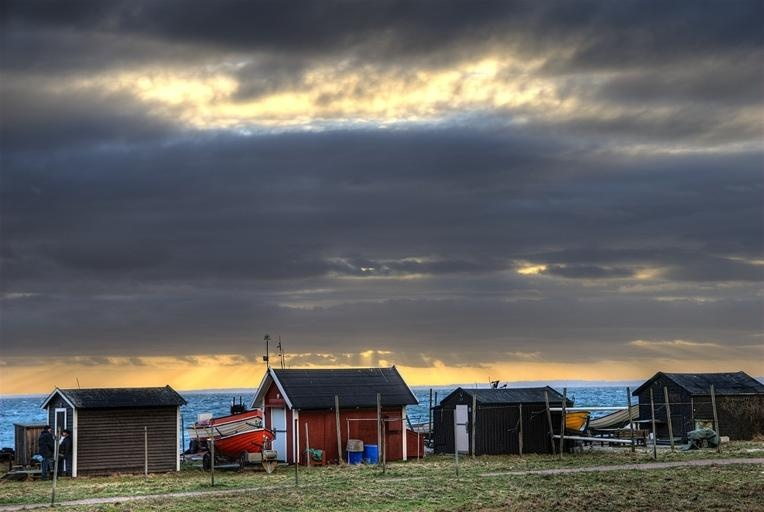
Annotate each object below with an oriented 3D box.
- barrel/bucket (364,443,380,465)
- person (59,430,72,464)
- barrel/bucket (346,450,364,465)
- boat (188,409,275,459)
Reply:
[{"bbox_3d":[-0.689,12.046,79.367,0.743,1.244,0.770,-4,-15,-1],"label":"barrel/bucket"},{"bbox_3d":[-17.997,10.752,73.778,0.737,1.754,1.086,-4,-15,-1],"label":"person"},{"bbox_3d":[-1.728,12.195,78.915,0.919,0.684,0.824,2,-2,-14],"label":"barrel/bucket"},{"bbox_3d":[-9.040,10.683,77.081,2.339,1.795,6.376,8,-17,-40],"label":"boat"}]
